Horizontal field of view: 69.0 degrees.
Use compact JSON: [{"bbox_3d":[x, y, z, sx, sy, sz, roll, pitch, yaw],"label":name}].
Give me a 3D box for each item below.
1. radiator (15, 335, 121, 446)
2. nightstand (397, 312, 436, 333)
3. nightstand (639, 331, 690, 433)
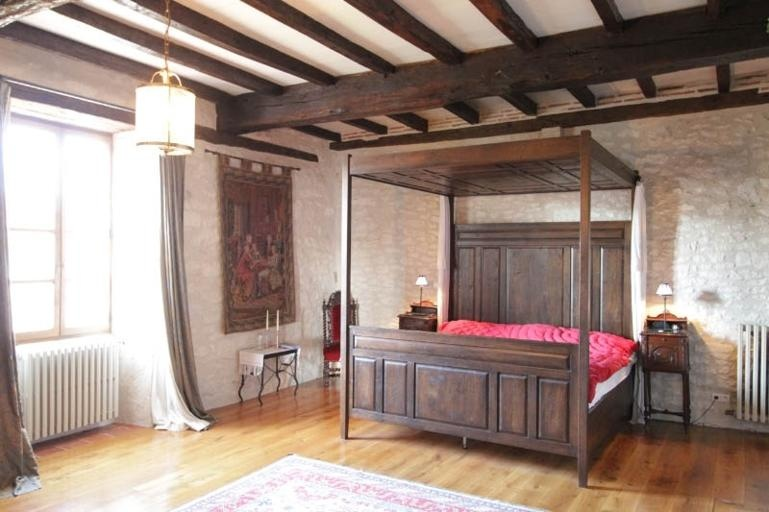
[{"bbox_3d":[-3.793,1.606,6.606,0.226,1.217,1.540,-3,-1,36],"label":"radiator"},{"bbox_3d":[0.518,1.087,9.144,0.481,0.282,0.370,0,0,36],"label":"nightstand"},{"bbox_3d":[3.779,1.670,7.597,0.689,1.232,0.632,-1,-3,32],"label":"nightstand"}]
